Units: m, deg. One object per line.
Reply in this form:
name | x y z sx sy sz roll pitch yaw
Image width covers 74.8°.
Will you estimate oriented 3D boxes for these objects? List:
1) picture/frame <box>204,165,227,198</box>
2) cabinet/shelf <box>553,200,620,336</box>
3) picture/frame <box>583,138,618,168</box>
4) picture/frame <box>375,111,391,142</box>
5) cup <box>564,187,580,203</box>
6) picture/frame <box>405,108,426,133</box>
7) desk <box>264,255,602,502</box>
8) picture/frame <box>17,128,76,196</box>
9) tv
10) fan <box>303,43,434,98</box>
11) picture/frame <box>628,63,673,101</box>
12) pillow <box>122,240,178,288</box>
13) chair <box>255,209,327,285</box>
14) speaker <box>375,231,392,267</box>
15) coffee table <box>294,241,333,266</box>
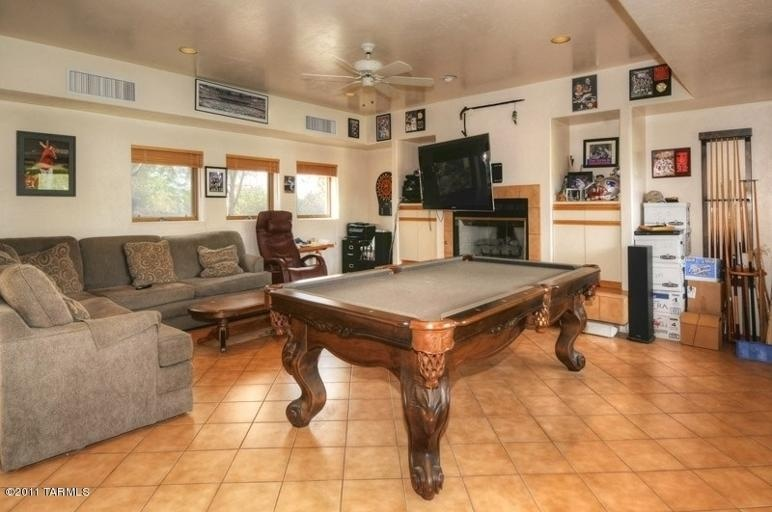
picture/frame | -2.641 -1.136 7.811 0.386 0.484 0.119 -10 18 -34
cabinet/shelf | 2.946 -0.104 7.424 0.911 1.454 0.534 2 18 27
picture/frame | 3.156 -1.512 7.392 0.516 0.443 0.039 2 2 39
picture/frame | -0.047 -2.313 9.003 0.041 0.559 0.510 -5 7 -39
cup | 2.731 -0.894 7.432 0.286 0.181 0.207 -2 3 -23
picture/frame | 0.507 -2.316 8.627 0.473 0.406 0.050 4 5 44
desk | 0.973 0.834 5.181 3.821 1.429 1.727 -10 17 -37
picture/frame | -4.288 -1.149 6.366 0.683 0.814 0.210 -8 17 -28
tv | 1.131 -1.301 7.890 0.149 0.968 1.411 -10 9 -40
fan | -0.247 -2.384 6.529 1.556 0.573 1.983 -1 13 -6
picture/frame | 3.446 -2.255 6.559 0.617 0.494 0.069 4 5 42
pillow | -3.114 0.104 6.637 0.198 0.587 0.657 -25 -5 37
chair | -1.462 -0.087 7.782 0.801 1.143 0.990 -8 14 -42
speaker | -0.086 -0.114 9.409 0.267 0.638 0.283 9 0 8
coffee table | -1.303 0.014 8.567 0.324 0.241 0.543 5 7 37
